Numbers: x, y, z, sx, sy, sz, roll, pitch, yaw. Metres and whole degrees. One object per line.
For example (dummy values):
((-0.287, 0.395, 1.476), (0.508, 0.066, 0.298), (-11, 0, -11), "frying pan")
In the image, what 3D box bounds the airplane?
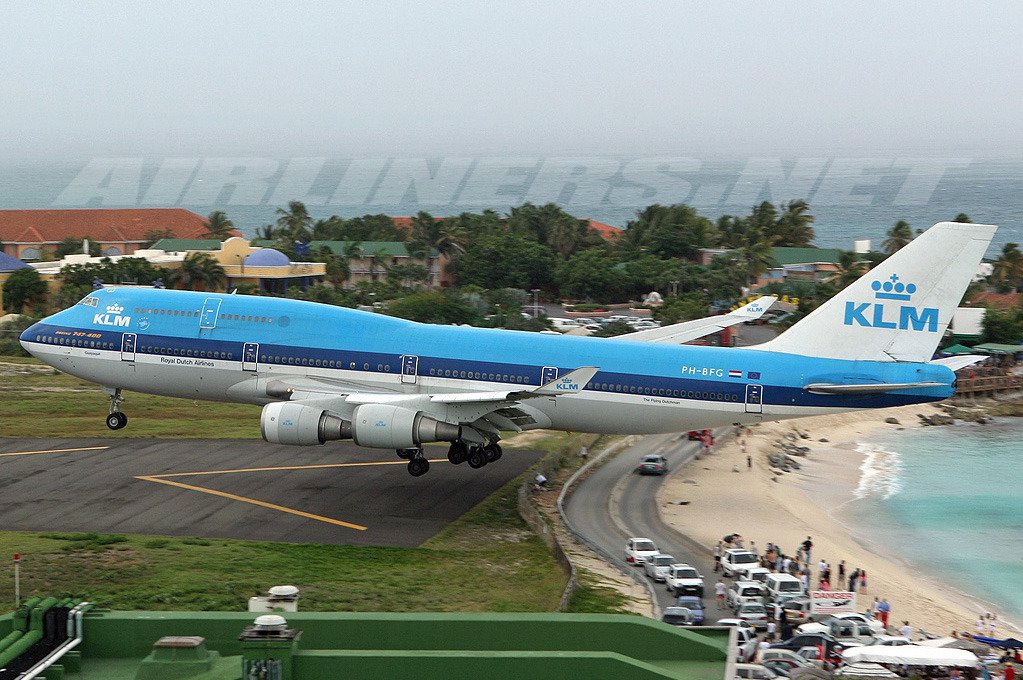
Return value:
((-1.993, -0.161, 54.510), (49.082, 5.562, 29.377), (0, 20, 6), "airplane")
